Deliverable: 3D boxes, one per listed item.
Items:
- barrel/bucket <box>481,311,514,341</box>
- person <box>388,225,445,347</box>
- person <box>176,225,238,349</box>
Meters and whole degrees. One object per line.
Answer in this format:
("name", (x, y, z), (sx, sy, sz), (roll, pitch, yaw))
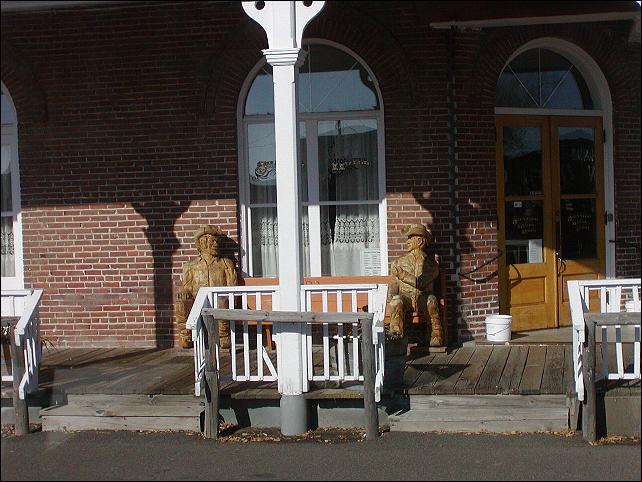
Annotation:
("barrel/bucket", (2.243, 1.061, 10.538), (0.318, 0.322, 0.310), (0, -3, 0))
("person", (1.148, 0.545, 10.396), (0.754, 1.513, 0.609), (-2, -3, -11))
("person", (-1.468, 0.581, 10.706), (0.788, 1.543, 0.510), (-2, -3, -1))
